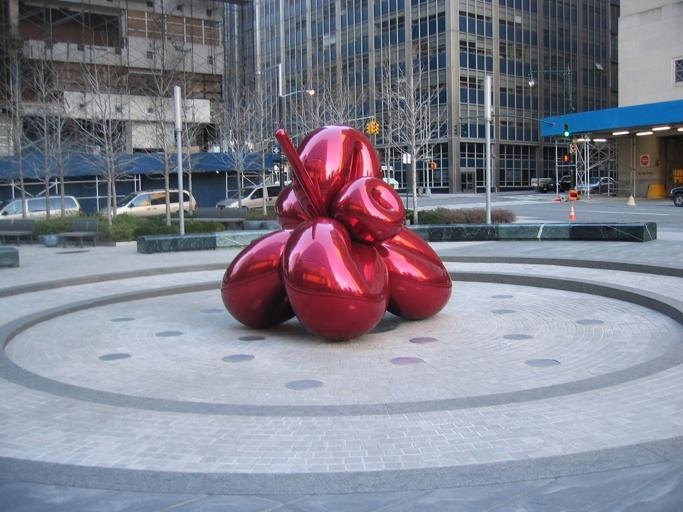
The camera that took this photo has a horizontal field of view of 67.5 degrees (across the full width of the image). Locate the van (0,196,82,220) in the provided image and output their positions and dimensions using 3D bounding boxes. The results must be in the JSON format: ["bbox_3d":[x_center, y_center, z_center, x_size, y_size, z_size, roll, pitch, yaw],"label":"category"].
[{"bbox_3d":[-17.251,-2.763,29.407,4.127,1.424,2.019,0,2,-26],"label":"van"}]

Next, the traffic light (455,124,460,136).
[{"bbox_3d":[15.048,-16.349,66.322,1.085,1.541,0.222,-8,9,-29],"label":"traffic light"}]

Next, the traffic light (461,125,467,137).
[{"bbox_3d":[16.152,-16.357,66.879,1.203,1.627,0.063,-7,8,-23],"label":"traffic light"}]

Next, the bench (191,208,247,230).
[{"bbox_3d":[-6.521,-2.058,28.355,3.207,1.150,1.339,1,9,31],"label":"bench"}]

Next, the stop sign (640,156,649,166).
[{"bbox_3d":[29.577,-9.189,49.456,0.723,0.992,0.375,-1,8,23],"label":"stop sign"}]
